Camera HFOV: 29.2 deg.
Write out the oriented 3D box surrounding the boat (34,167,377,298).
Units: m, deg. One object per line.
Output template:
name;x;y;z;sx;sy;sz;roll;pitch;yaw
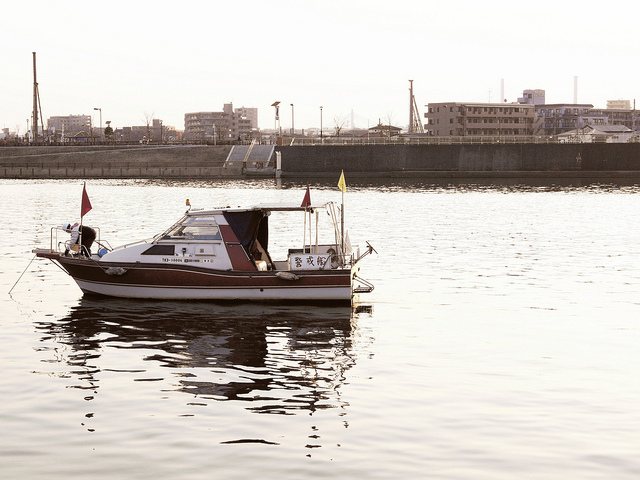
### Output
boat;-3.761;0.503;40.015;11.248;2.656;3.430;0;7;-1
